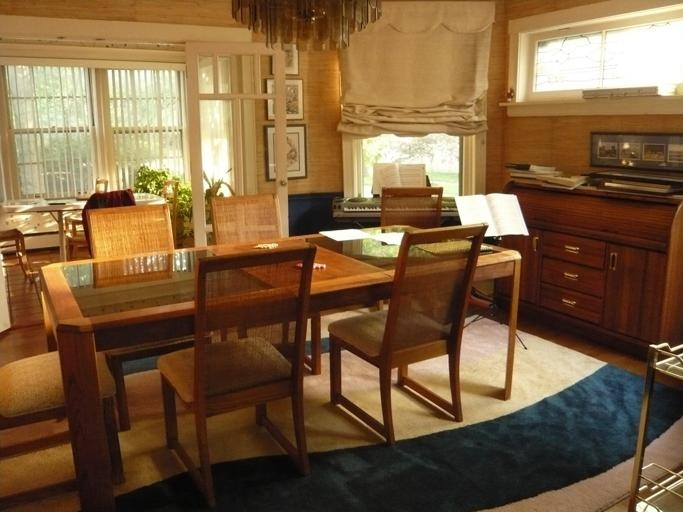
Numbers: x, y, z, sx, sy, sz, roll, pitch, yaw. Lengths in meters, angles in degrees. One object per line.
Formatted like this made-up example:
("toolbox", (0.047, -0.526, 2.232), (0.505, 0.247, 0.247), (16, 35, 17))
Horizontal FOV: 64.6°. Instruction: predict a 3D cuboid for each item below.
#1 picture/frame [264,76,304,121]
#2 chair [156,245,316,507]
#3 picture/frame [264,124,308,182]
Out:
("picture/frame", (-0.560, -1.478, 5.026), (0.524, 0.512, 0.019), (-6, 10, -32))
("chair", (-0.500, 0.514, 2.608), (0.799, 1.196, 0.511), (-8, 16, -12))
("picture/frame", (-0.553, -0.997, 5.138), (0.593, 0.732, 0.053), (-5, 10, -27))
